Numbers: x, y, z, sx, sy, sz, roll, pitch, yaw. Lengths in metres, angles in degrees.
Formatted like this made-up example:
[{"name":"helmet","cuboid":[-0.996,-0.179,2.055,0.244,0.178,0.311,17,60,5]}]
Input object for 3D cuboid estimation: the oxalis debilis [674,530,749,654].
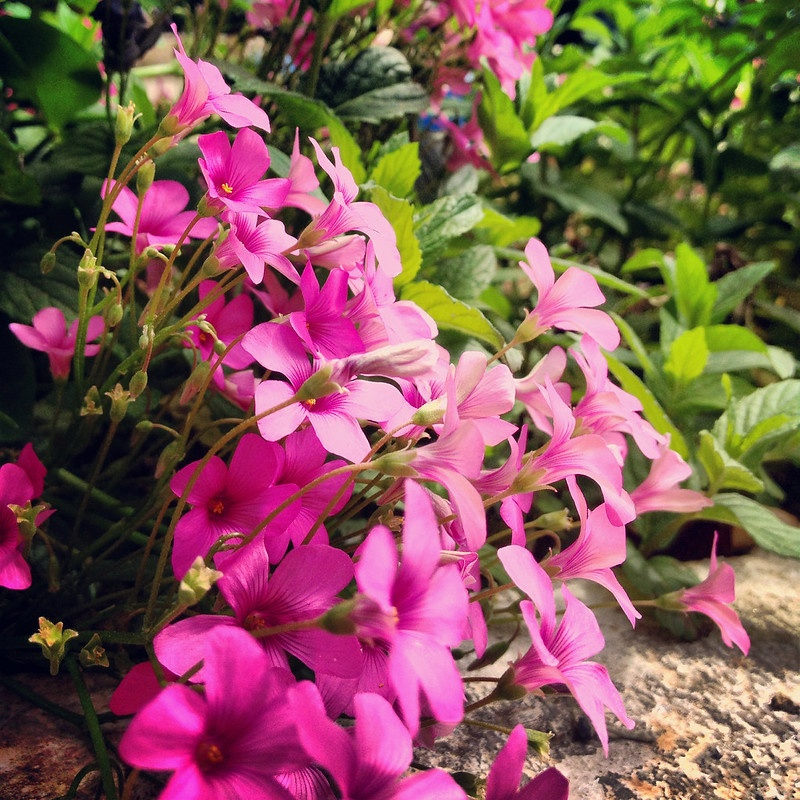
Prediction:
[{"name":"oxalis debilis","cuboid":[0.450,0.282,1.276,0.101,0.151,0.160,-12,34,10]}]
